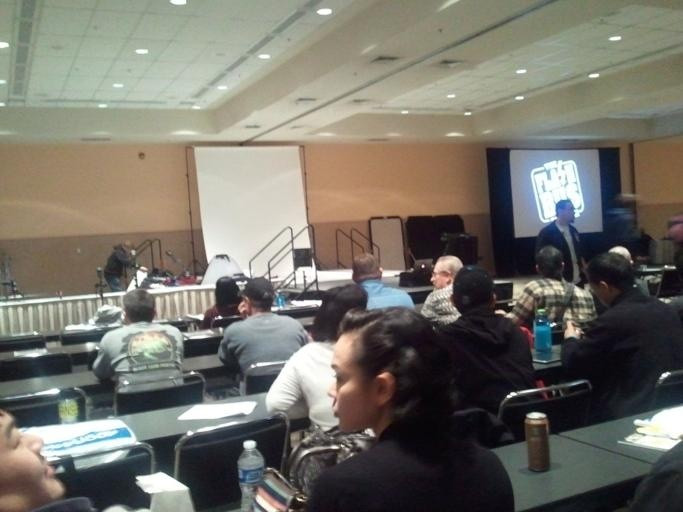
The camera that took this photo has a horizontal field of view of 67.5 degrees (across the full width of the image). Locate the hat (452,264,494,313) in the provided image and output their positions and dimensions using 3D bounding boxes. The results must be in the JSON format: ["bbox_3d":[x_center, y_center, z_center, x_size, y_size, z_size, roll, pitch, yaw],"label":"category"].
[{"bbox_3d":[0.750,0.210,2.967,0.222,0.357,0.179,1,18,9],"label":"hat"}]

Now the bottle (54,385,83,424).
[{"bbox_3d":[-1.661,0.935,3.135,0.141,0.226,0.139,0,-2,0],"label":"bottle"}]
